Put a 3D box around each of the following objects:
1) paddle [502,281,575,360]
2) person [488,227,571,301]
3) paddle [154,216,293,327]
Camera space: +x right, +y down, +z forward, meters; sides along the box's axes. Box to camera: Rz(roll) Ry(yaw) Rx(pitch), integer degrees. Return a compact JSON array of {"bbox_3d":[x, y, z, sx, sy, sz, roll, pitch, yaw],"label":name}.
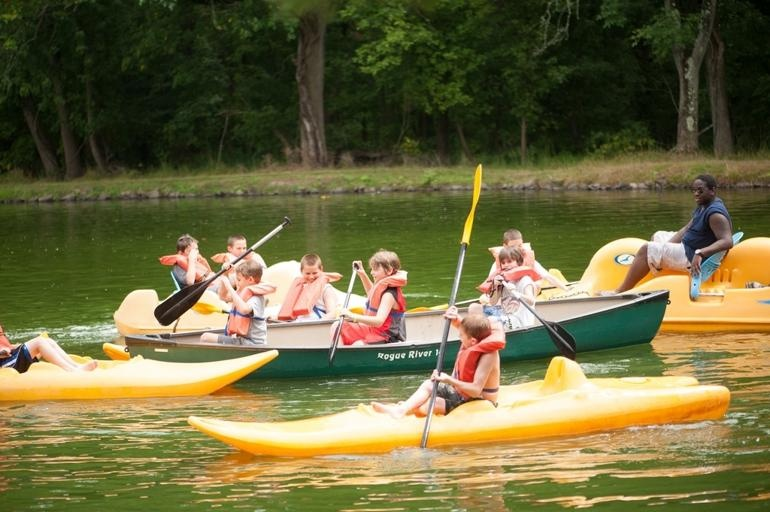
[{"bbox_3d":[2.502,1.049,21.965,2.128,0.500,0.147,40,6,35],"label":"paddle"},{"bbox_3d":[2.406,0.105,22.920,1.324,0.417,1.302,-10,26,-30],"label":"person"},{"bbox_3d":[-2.928,0.342,24.399,3.739,0.480,0.263,-32,-33,6],"label":"paddle"}]
